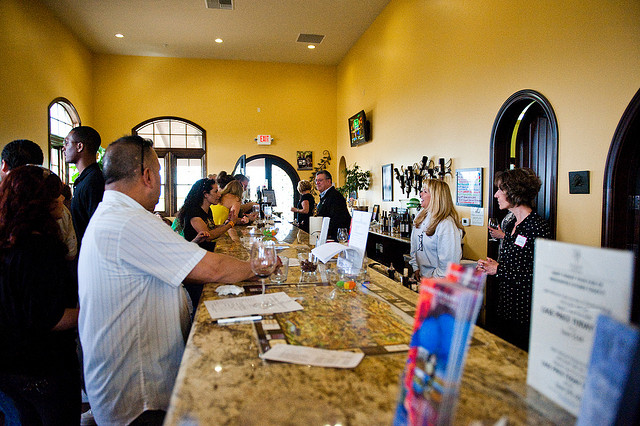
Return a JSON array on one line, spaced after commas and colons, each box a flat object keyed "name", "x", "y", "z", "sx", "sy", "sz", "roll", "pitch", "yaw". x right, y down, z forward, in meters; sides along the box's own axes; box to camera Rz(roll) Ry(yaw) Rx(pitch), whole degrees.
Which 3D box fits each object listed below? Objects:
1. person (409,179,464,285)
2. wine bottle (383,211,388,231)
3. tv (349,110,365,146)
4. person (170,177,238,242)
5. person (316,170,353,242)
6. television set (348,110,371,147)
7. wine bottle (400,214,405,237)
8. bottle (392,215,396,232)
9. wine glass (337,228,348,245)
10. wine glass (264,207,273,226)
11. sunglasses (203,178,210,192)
[{"name": "person", "x": 1.106, "y": 0.233, "z": 3.955, "sx": 0.360, "sy": 1.076, "sz": 0.758, "roll": -3, "pitch": 15, "yaw": -8}, {"name": "wine bottle", "x": 1.032, "y": 0.155, "z": 6.597, "sx": 0.075, "sy": 0.232, "sz": 0.156, "roll": 1, "pitch": 15, "yaw": 6}, {"name": "tv", "x": 0.743, "y": -1.759, "z": 8.715, "sx": 0.083, "sy": 0.647, "sz": 0.690, "roll": 2, "pitch": 24, "yaw": 32}, {"name": "person", "x": -1.268, "y": 0.099, "z": 4.607, "sx": 0.697, "sy": 0.948, "sz": 0.513, "roll": 6, "pitch": 18, "yaw": 12}, {"name": "person", "x": 0.200, "y": 0.118, "z": 6.301, "sx": 0.581, "sy": 1.446, "sz": 0.680, "roll": -4, "pitch": 11, "yaw": -4}, {"name": "television set", "x": 0.830, "y": -1.770, "z": 8.670, "sx": 0.331, "sy": 0.821, "sz": 0.930, "roll": -1, "pitch": 3, "yaw": -15}, {"name": "wine bottle", "x": 1.178, "y": 0.180, "z": 5.971, "sx": 0.068, "sy": 0.292, "sz": 0.174, "roll": 2, "pitch": 15, "yaw": 12}, {"name": "bottle", "x": 1.112, "y": 0.153, "z": 6.252, "sx": 0.026, "sy": 0.255, "sz": 0.091, "roll": -8, "pitch": 16, "yaw": -26}, {"name": "wine glass", "x": 0.179, "y": 0.185, "z": 3.228, "sx": 0.067, "sy": 0.143, "sz": 0.169, "roll": 0, "pitch": 15, "yaw": 3}, {"name": "wine glass", "x": -0.665, "y": 0.035, "z": 5.328, "sx": 0.090, "sy": 0.289, "sz": 0.277, "roll": -3, "pitch": 15, "yaw": -9}, {"name": "sunglasses", "x": -1.221, "y": -0.301, "z": 4.478, "sx": 0.109, "sy": 0.113, "sz": 0.027, "roll": -13, "pitch": -22, "yaw": 25}]
